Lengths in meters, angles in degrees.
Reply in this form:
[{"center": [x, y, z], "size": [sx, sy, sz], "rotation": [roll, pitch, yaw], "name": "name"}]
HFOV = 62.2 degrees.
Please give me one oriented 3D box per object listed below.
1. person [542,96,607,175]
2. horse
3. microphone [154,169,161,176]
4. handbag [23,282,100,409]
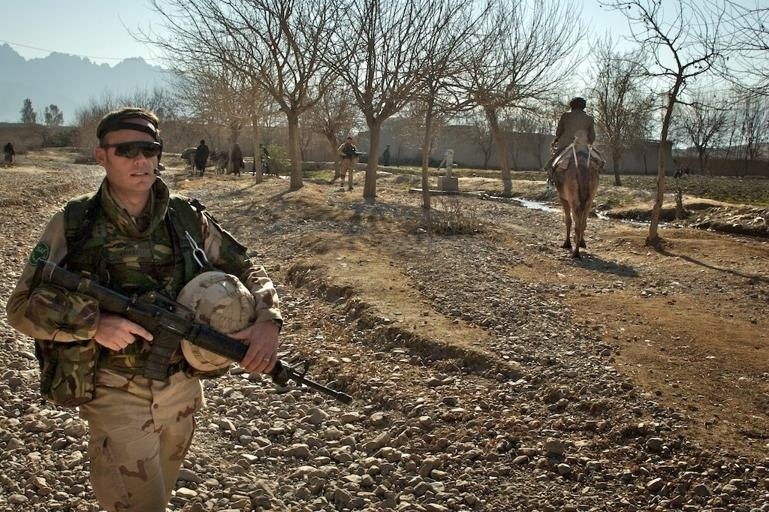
[{"center": [4.037, -2.243, 13.518], "size": [1.151, 2.290, 0.898], "rotation": [7, -12, 13], "name": "person"}, {"center": [4.226, -1.279, 13.975], "size": [0.836, 2.404, 3.355], "rotation": [1, 5, 12], "name": "horse"}, {"center": [-1.630, -0.607, 4.578], "size": [0.052, 0.041, 0.051], "rotation": [1, -8, -19], "name": "microphone"}, {"center": [-2.176, 0.785, 4.289], "size": [0.465, 0.456, 0.223], "rotation": [3, 11, 8], "name": "handbag"}]
